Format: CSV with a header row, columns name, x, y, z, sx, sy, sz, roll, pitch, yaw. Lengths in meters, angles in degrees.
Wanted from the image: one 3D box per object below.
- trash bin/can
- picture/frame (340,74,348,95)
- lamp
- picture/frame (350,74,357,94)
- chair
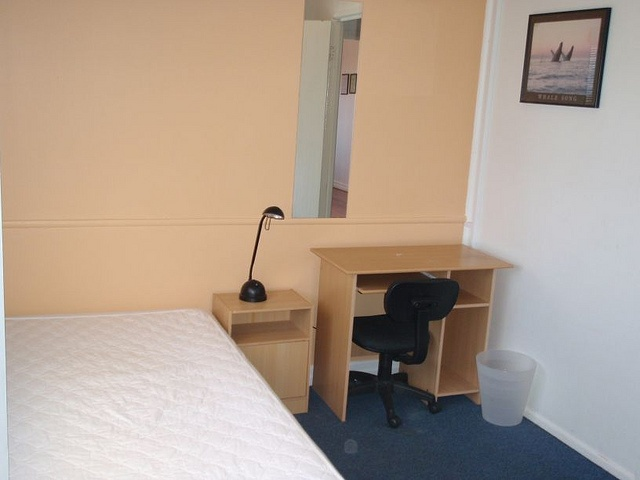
name,x,y,z,sx,sy,sz,roll,pitch,yaw
trash bin/can,1.227,1.006,3.451,0.424,0.478,0.449,2,4,21
picture/frame,0.172,-1.088,3.516,0.062,0.135,0.018,-5,17,-22
lamp,-0.398,0.066,3.371,0.281,0.632,0.339,-1,16,-9
picture/frame,0.234,-1.098,3.529,0.056,0.139,0.018,-6,18,-26
chair,0.472,0.665,3.473,0.699,0.965,0.702,-1,9,-28
